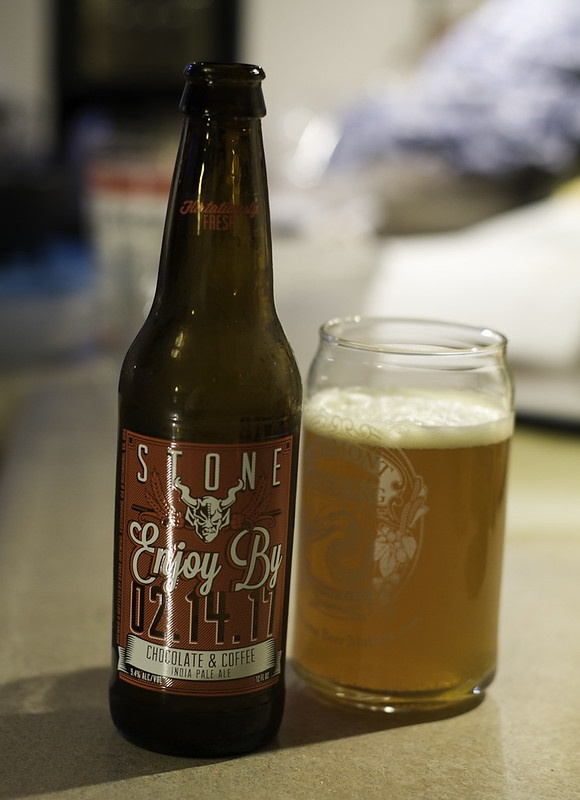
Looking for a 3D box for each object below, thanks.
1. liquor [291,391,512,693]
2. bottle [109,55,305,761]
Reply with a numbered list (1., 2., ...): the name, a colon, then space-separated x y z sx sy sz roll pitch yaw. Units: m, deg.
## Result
1. liquor: 0.052 0.069 0.411 0.107 0.147 0.076 7 9 21
2. bottle: -0.034 0.006 0.348 0.076 0.289 0.053 3 9 -10
